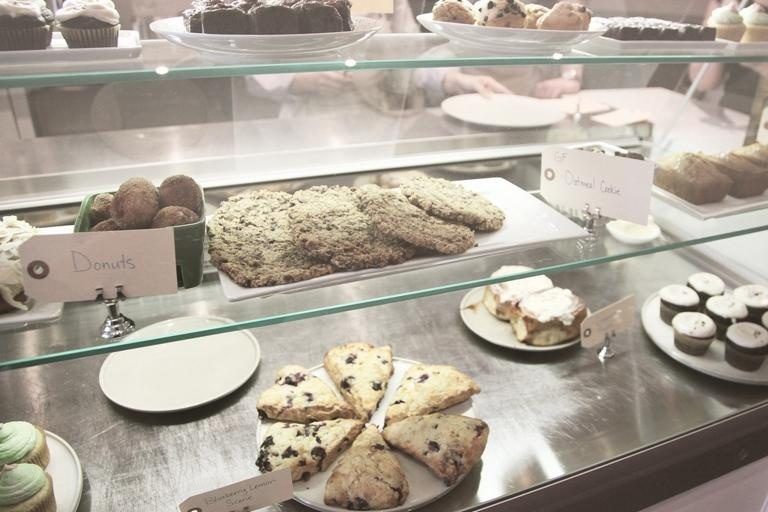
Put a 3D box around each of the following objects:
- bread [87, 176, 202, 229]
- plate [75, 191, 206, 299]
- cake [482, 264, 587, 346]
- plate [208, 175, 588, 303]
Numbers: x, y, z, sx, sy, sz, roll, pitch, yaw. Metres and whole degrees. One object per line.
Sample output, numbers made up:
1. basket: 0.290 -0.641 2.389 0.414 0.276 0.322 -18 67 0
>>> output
1. bread: -0.521 -0.109 1.131 0.199 0.067 0.141 -7 26 -16
2. plate: -0.475 -0.052 1.110 0.234 0.105 0.220 -2 27 -9
3. cake: 0.455 0.129 1.605 0.247 0.109 0.335 -13 27 -17
4. plate: 0.126 -0.073 1.250 0.674 0.065 0.388 -10 35 -14
